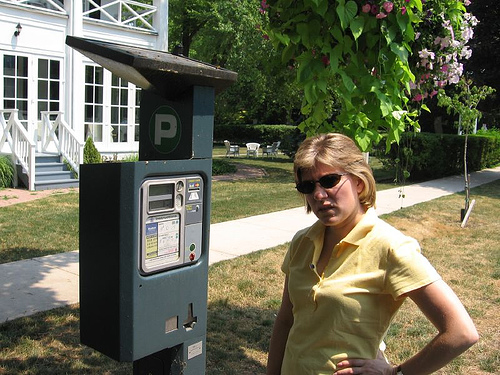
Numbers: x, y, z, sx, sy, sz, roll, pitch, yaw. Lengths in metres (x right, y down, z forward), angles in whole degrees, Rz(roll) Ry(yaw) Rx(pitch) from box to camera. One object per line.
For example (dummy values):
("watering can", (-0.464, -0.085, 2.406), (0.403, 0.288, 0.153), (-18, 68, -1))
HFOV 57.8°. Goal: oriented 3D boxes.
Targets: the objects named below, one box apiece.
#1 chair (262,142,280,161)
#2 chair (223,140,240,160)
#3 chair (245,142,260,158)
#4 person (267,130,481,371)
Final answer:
("chair", (1.239, -2.222, 27.001), (0.964, 1.158, 0.856), (1, 4, 8))
("chair", (-1.038, -2.288, 25.941), (0.924, 1.147, 0.864), (0, 7, 4))
("chair", (0.171, -2.287, 26.228), (0.929, 1.161, 0.839), (0, -2, 0))
("person", (0.575, 0.415, 2.377), (1.107, 1.403, 0.421), (3, 6, 29))
